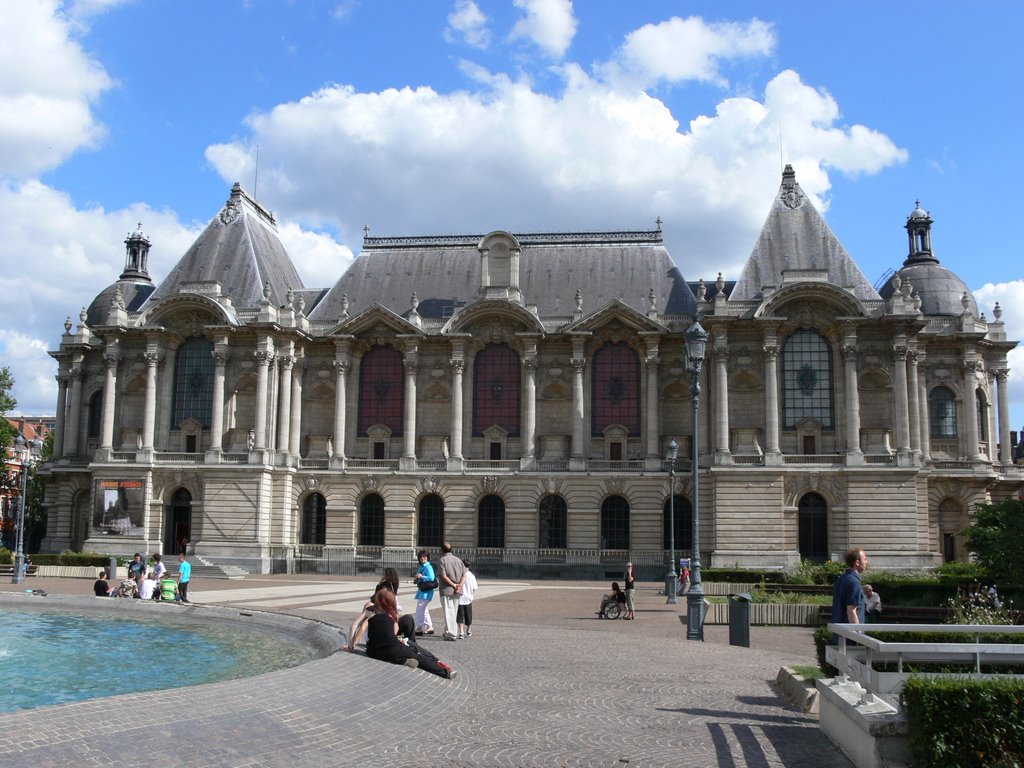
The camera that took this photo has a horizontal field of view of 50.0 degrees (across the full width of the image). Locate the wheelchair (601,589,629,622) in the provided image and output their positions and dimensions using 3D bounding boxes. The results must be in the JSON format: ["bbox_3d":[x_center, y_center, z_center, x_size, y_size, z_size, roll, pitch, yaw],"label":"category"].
[{"bbox_3d":[3.768,8.080,39.556,1.193,1.100,0.723,1,-12,3],"label":"wheelchair"}]

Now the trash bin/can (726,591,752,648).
[{"bbox_3d":[6.453,6.726,31.117,0.515,1.475,0.822,1,-11,5],"label":"trash bin/can"}]
